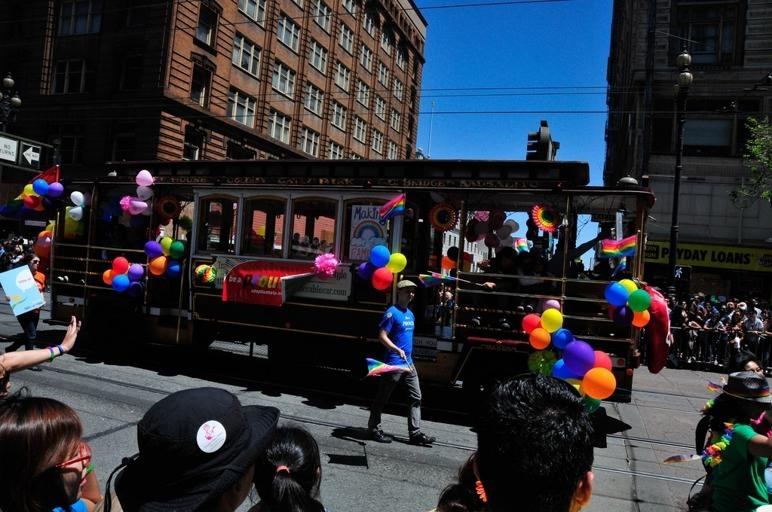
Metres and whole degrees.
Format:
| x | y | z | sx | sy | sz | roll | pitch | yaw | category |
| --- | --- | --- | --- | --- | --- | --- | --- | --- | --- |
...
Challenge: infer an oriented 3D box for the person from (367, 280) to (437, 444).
| x | y | z | sx | sy | sz | roll | pitch | yaw | category |
| --- | --- | --- | --- | --- | --- | --- | --- | --- | --- |
| 0.336 | 1.980 | 12.877 | 1.122 | 2.954 | 0.890 | 6 | 7 | 6 | person |

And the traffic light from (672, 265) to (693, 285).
| x | y | z | sx | sy | sz | roll | pitch | yaw | category |
| --- | --- | --- | --- | --- | --- | --- | --- | --- | --- |
| 9.152 | 0.392 | 21.267 | 0.532 | 0.652 | 0.945 | 1 | 1 | 20 | traffic light |

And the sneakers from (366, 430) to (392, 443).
| x | y | z | sx | sy | sz | roll | pitch | yaw | category |
| --- | --- | --- | --- | --- | --- | --- | --- | --- | --- |
| -0.133 | 3.340 | 12.785 | 0.547 | 0.228 | 0.184 | 2 | -1 | 12 | sneakers |

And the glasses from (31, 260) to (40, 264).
| x | y | z | sx | sy | sz | roll | pitch | yaw | category |
| --- | --- | --- | --- | --- | --- | --- | --- | --- | --- |
| -7.655 | 0.106 | 14.979 | 0.055 | 0.087 | 0.115 | -35 | 0 | 22 | glasses |

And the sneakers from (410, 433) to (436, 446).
| x | y | z | sx | sy | sz | roll | pitch | yaw | category |
| --- | --- | --- | --- | --- | --- | --- | --- | --- | --- |
| 0.642 | 3.376 | 12.788 | 0.593 | 0.267 | 0.201 | -2 | 11 | 1 | sneakers |

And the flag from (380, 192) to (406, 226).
| x | y | z | sx | sy | sz | roll | pitch | yaw | category |
| --- | --- | --- | --- | --- | --- | --- | --- | --- | --- |
| 0.102 | -1.047 | 14.590 | 0.532 | 0.657 | 0.214 | 9 | 8 | 30 | flag |

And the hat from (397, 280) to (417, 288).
| x | y | z | sx | sy | sz | roll | pitch | yaw | category |
| --- | --- | --- | --- | --- | --- | --- | --- | --- | --- |
| 0.377 | 0.528 | 13.004 | 0.248 | 0.088 | 0.182 | -4 | 5 | -6 | hat |
